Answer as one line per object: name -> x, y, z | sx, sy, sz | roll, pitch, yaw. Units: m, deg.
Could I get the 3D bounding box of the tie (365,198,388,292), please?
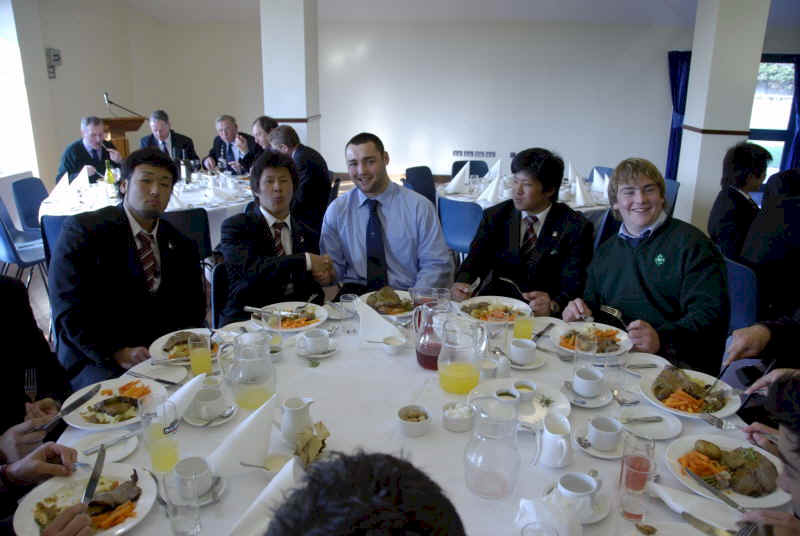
tie -> -0.142, -0.148, 3.589 | 0.134, 0.513, 0.291 | -1, 18, -4

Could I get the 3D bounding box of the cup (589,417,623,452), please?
cup -> 0.729, 0.593, 2.046 | 0.087, 0.090, 0.136 | -4, 9, -9

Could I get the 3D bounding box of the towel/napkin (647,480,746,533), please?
towel/napkin -> 0.963, 0.773, 1.876 | 0.276, 0.074, 0.103 | 7, 19, 21

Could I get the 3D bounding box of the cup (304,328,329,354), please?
cup -> -0.363, 0.326, 2.529 | 0.086, 0.077, 0.114 | -1, 1, 10

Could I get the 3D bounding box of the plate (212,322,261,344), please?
plate -> -0.771, 0.294, 2.661 | 0.134, 0.053, 0.102 | -17, 26, -40

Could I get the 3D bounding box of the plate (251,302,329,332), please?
plate -> -0.524, 0.237, 2.789 | 0.206, 0.036, 0.202 | -3, 18, -30

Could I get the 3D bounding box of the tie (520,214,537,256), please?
tie -> 0.798, -0.202, 3.572 | 0.098, 0.270, 0.031 | 0, 11, 18

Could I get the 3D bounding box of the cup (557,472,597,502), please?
cup -> 0.573, 0.690, 1.846 | 0.098, 0.069, 0.072 | -5, 12, -39

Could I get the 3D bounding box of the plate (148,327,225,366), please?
plate -> -0.988, 0.358, 2.562 | 0.211, 0.050, 0.211 | -2, 18, -5

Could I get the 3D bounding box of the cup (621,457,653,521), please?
cup -> 0.759, 0.708, 1.862 | 0.084, 0.178, 0.117 | 8, 20, 23

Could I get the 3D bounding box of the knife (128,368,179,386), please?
knife -> -1.014, 0.453, 2.365 | 0.162, 0.008, 0.023 | 11, 22, 9

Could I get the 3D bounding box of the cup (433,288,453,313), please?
cup -> 0.206, 0.152, 2.707 | 0.087, 0.103, 0.101 | 2, 17, 9

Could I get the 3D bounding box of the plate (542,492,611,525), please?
plate -> 0.582, 0.761, 1.846 | 0.219, 0.106, 0.108 | 0, 18, -2

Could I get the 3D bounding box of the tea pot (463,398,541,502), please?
tea pot -> 0.408, 0.614, 1.926 | 0.289, 0.297, 0.206 | 8, -6, -40

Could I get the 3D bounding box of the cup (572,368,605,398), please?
cup -> 0.743, 0.451, 2.263 | 0.095, 0.092, 0.124 | -5, 22, 5

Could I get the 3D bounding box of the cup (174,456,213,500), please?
cup -> -0.668, 0.676, 1.857 | 0.113, 0.099, 0.130 | -1, 22, -5

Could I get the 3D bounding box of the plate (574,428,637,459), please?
plate -> 0.720, 0.636, 2.050 | 0.139, 0.065, 0.126 | 7, 28, 9

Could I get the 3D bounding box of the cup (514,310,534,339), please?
cup -> 0.554, 0.269, 2.641 | 0.093, 0.104, 0.097 | 1, 7, 0

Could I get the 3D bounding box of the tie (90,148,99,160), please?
tie -> -3.386, -1.262, 6.367 | 0.076, 0.104, 0.027 | -2, 5, -20

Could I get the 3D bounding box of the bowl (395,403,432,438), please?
bowl -> 0.051, 0.566, 2.127 | 0.116, 0.078, 0.100 | 0, 18, 0

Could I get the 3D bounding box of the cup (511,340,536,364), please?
cup -> 0.531, 0.359, 2.476 | 0.097, 0.073, 0.097 | -1, 10, 0
